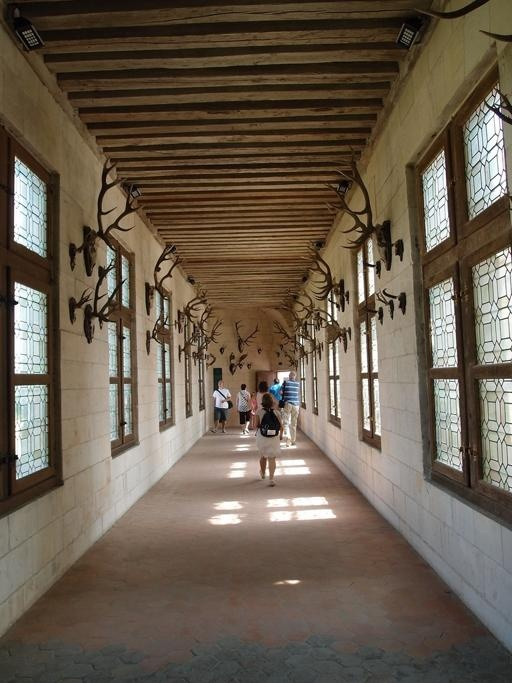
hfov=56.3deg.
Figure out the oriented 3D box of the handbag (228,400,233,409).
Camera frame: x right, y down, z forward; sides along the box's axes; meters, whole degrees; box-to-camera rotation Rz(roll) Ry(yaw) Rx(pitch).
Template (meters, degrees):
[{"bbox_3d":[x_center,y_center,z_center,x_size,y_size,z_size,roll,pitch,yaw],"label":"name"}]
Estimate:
[{"bbox_3d":[-0.905,2.216,16.999,0.187,0.372,0.329,0,-14,-3],"label":"handbag"}]
